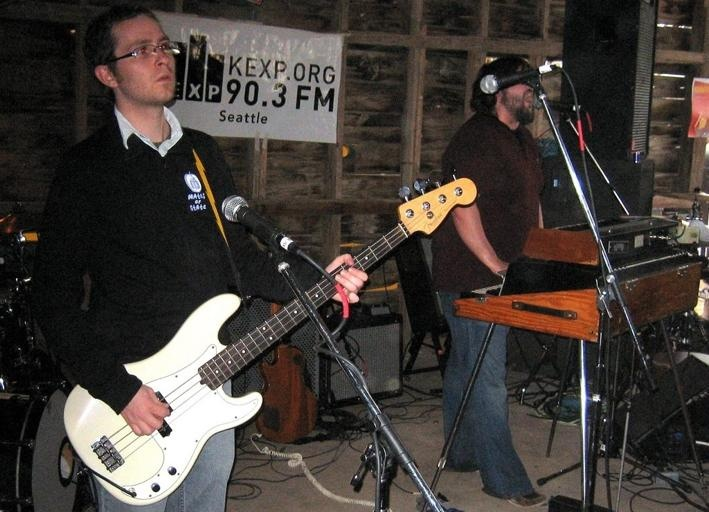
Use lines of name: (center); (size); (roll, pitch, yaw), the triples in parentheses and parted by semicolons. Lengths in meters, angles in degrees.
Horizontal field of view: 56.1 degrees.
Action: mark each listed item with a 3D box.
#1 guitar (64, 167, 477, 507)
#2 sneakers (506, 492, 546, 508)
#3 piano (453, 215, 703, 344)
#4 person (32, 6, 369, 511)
guitar: (-0.428, 0.573, 3.910); (2.605, 0.853, 0.308); (-40, 11, -9)
sneakers: (1.150, 1.595, 4.399); (0.171, 0.052, 0.105); (-1, -5, -20)
piano: (1.263, 0.111, 3.927); (1.132, 0.593, 0.842); (-7, 8, -44)
person: (-0.962, -0.196, 3.149); (0.997, 2.001, 0.539); (-3, 8, -10)
